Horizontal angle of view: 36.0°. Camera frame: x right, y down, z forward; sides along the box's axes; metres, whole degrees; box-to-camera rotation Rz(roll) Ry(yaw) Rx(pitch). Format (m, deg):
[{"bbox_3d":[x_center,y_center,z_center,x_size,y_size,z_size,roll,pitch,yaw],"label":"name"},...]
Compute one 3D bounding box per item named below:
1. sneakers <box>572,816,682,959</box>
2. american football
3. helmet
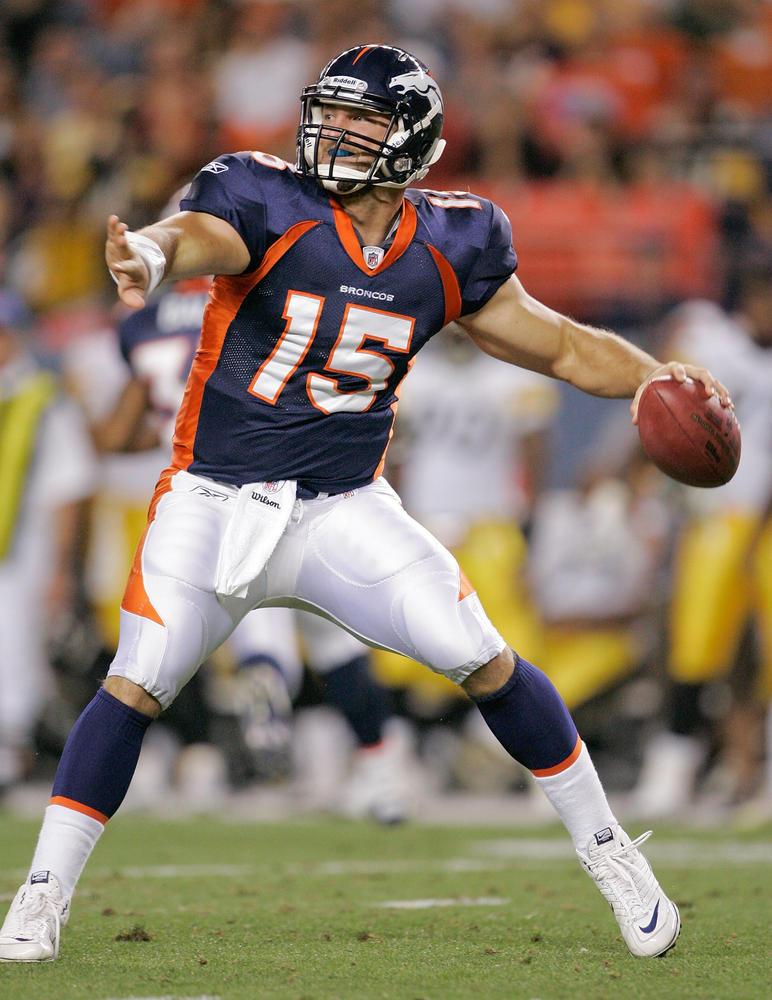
[{"bbox_3d":[0.424,0.680,2.111,0.117,0.114,0.251,-35,57,5],"label":"sneakers"},{"bbox_3d":[0.567,-0.131,2.268,0.221,0.188,0.215,-3,12,10],"label":"american football"},{"bbox_3d":[-0.026,-0.731,2.245,0.251,0.228,0.312,19,28,21],"label":"helmet"}]
